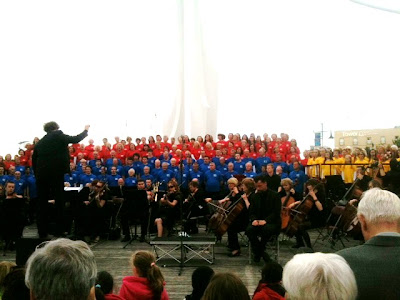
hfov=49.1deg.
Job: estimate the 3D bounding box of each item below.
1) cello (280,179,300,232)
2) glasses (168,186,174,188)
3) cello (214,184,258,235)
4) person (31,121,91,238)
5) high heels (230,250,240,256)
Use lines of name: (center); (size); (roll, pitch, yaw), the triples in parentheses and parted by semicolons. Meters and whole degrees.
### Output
cello: (1.848, 1.196, 9.393); (0.487, 1.074, 0.343); (-18, -56, 43)
glasses: (-0.691, 0.879, 10.429); (0.105, 0.050, 0.043); (0, 1, 2)
cello: (0.674, 1.205, 9.012); (0.715, 1.097, 0.737); (2, 2, -11)
person: (-2.674, 0.549, 7.941); (0.684, 2.131, 1.022); (-1, 1, -42)
high heels: (0.694, 2.064, 8.786); (0.206, 0.105, 0.194); (0, 1, 3)
